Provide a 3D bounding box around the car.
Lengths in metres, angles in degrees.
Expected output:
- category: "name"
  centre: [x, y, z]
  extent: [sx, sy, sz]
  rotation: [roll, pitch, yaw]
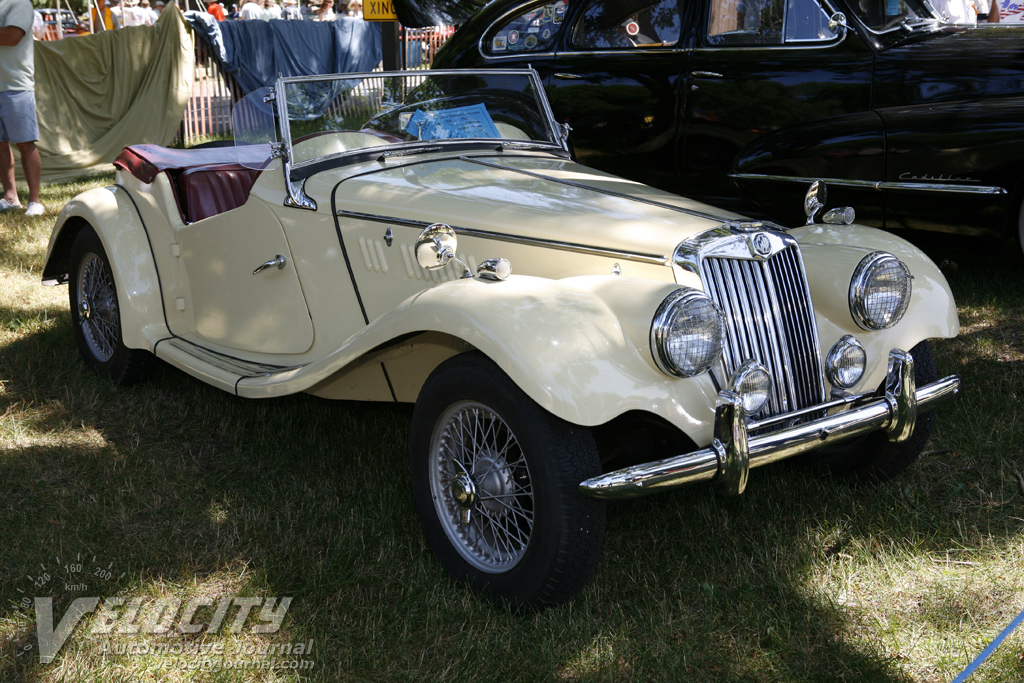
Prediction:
- category: "car"
  centre: [-0.484, -0.385, 4.773]
  extent: [2.636, 2.028, 4.758]
  rotation: [-18, 26, -41]
